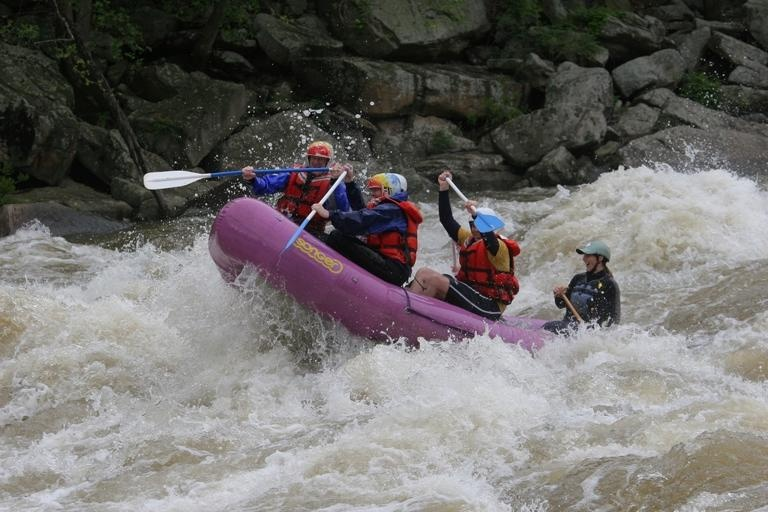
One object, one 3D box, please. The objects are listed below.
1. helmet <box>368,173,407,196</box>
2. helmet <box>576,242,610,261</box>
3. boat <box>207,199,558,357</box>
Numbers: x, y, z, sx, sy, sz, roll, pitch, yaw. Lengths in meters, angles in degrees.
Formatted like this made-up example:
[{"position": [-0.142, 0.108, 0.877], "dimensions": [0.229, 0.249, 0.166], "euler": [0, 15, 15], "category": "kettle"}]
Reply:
[{"position": [0.049, -1.027, 17.142], "dimensions": [0.418, 0.307, 0.370], "euler": [-22, 13, 7], "category": "helmet"}, {"position": [3.046, -0.101, 17.406], "dimensions": [0.454, 0.216, 0.291], "euler": [11, -2, -2], "category": "helmet"}, {"position": [-0.232, 0.532, 16.851], "dimensions": [4.442, 1.103, 2.063], "euler": [27, -9, -12], "category": "boat"}]
